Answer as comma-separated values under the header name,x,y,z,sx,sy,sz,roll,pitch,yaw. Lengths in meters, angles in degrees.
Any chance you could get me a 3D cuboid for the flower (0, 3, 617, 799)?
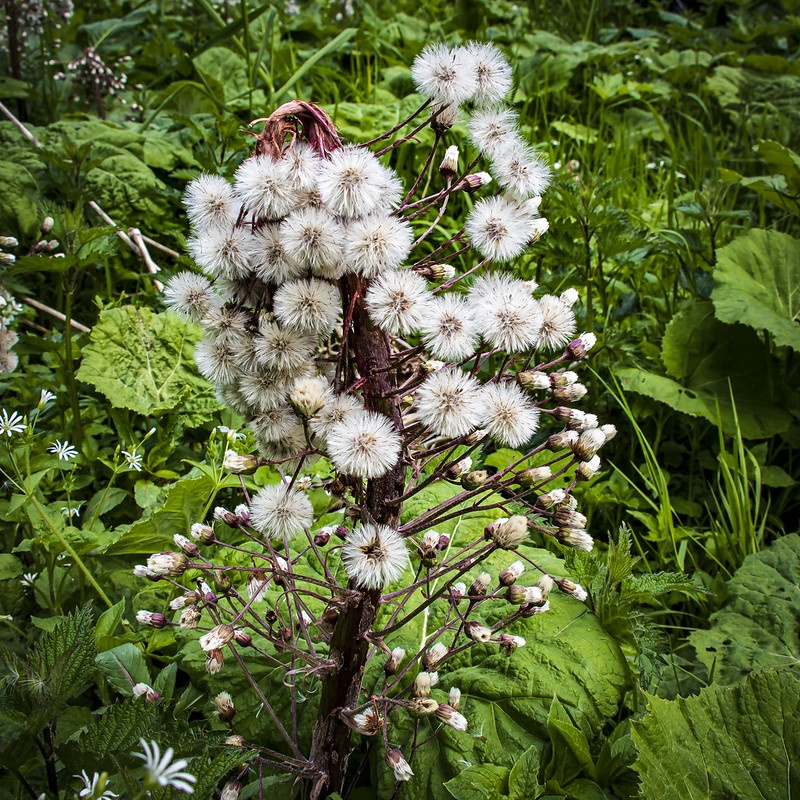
name,x,y,z,sx,sy,sz,roll,pitch,yaw
flower,-0.056,0.091,3.056,1.201,1.819,1.373,12,4,3
